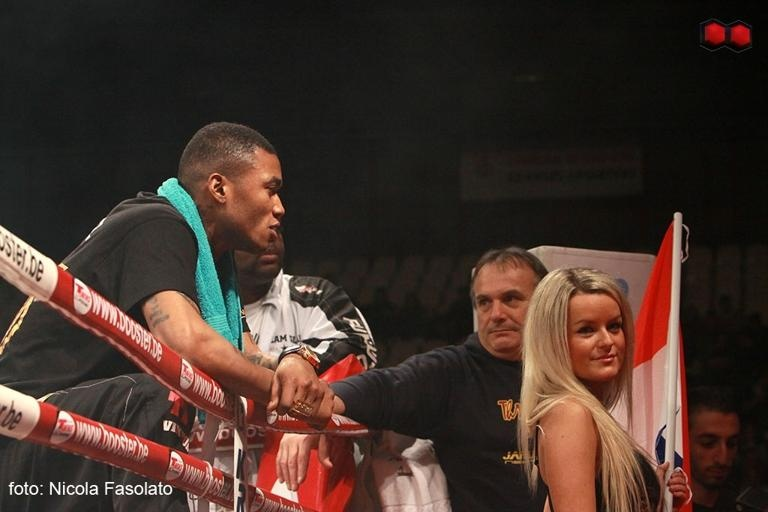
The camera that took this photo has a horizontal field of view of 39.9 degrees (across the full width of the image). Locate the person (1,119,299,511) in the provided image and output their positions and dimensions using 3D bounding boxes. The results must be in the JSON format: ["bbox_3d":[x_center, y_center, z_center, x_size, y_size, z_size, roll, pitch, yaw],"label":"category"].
[{"bbox_3d":[-1.316,0.269,6.117,1.517,2.291,1.116,-20,-43,32],"label":"person"}]
